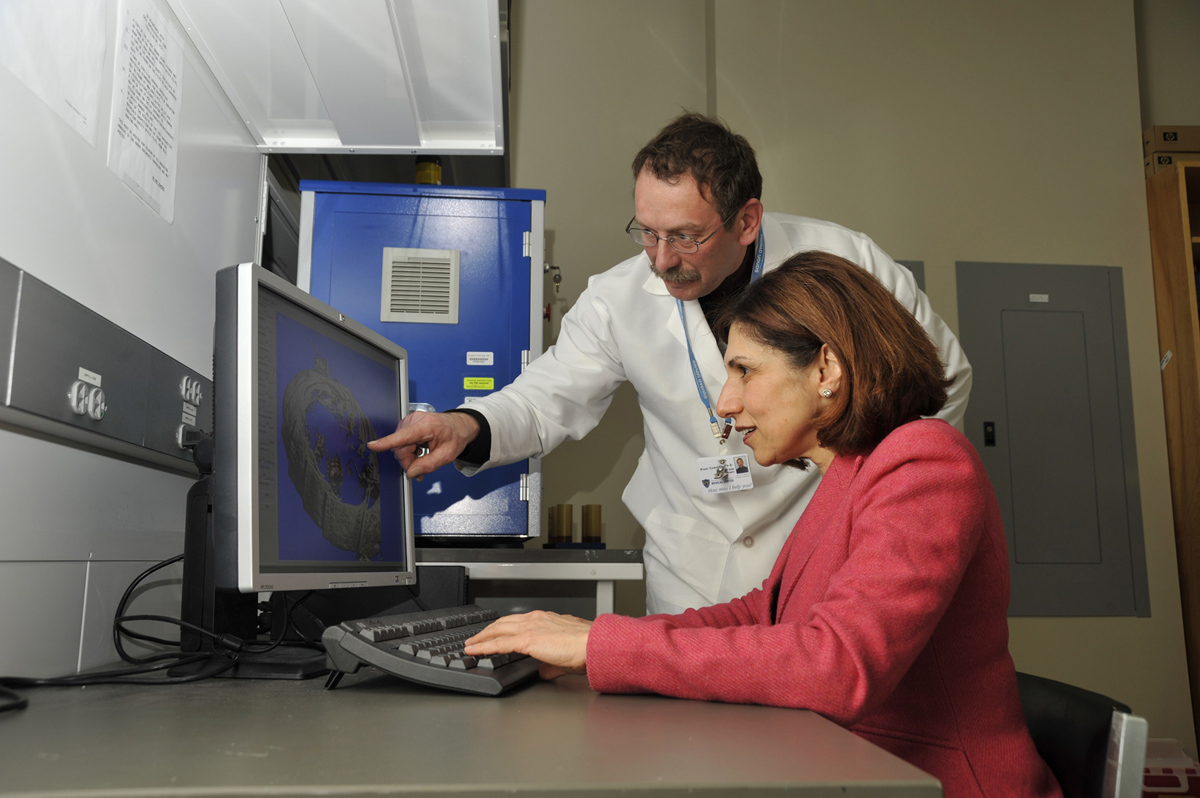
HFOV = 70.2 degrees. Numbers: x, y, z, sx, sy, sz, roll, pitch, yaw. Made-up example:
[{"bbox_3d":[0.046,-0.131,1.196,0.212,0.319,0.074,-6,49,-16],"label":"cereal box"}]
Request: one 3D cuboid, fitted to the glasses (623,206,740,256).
[{"bbox_3d":[0.170,-0.442,2.309,0.273,0.124,0.099,-4,-4,39],"label":"glasses"}]
